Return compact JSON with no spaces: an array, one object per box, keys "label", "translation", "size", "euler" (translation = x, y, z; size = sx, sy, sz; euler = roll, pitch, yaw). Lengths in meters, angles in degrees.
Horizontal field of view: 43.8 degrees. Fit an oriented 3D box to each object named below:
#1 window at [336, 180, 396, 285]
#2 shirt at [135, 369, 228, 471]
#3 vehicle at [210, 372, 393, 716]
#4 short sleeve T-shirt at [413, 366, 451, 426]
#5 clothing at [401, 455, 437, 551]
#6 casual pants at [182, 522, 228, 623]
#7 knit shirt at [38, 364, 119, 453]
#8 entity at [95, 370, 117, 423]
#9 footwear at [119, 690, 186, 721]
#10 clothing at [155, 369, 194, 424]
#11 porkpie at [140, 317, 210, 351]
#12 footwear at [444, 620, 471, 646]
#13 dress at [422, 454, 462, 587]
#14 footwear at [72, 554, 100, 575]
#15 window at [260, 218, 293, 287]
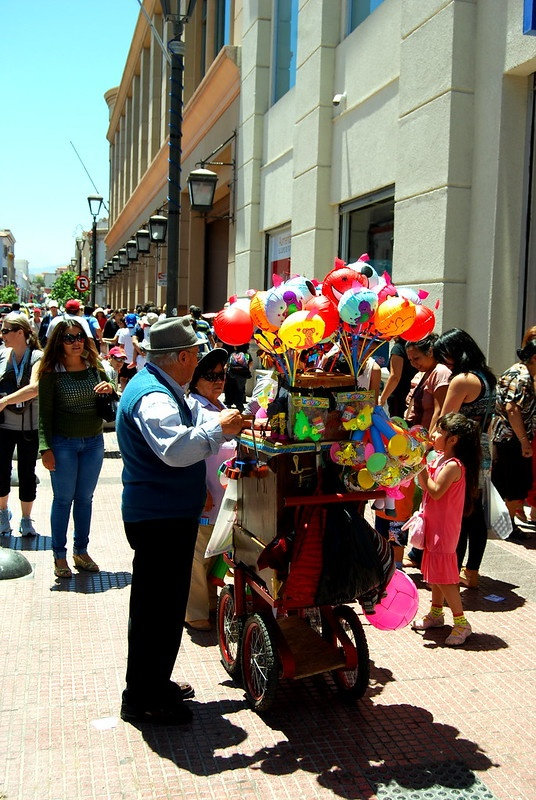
[{"label":"window","translation":[1.379,-2.293,8.914],"size":[0.074,0.937,1.508],"euler":[1,4,-26]},{"label":"shirt","translation":[-0.314,-0.025,2.326],"size":[0.250,0.231,0.481],"euler":[6,8,-13]},{"label":"vehicle","translation":[0.127,0.726,2.960],"size":[0.513,1.113,0.985],"euler":[3,3,-14]},{"label":"short sleeve T-shirt","translation":[1.271,0.016,5.079],"size":[0.285,0.519,0.524],"euler":[2,-5,10]},{"label":"clothing","translation":[0.908,0.665,3.974],"size":[0.186,0.444,0.119],"euler":[13,-17,-33]},{"label":"casual pants","translation":[-0.371,1.052,3.939],"size":[0.164,0.613,0.267],"euler":[-1,3,-36]},{"label":"knit shirt","translation":[-1.335,0.049,4.765],"size":[0.649,0.699,0.366],"euler":[-5,3,-32]},{"label":"entity","translation":[-1.154,-0.015,4.691],"size":[0.106,0.319,0.244],"euler":[-5,-33,-4]},{"label":"footwear","translation":[-0.476,1.272,2.734],"size":[0.268,0.115,0.106],"euler":[0,8,-10]},{"label":"clothing","translation":[-0.411,-0.001,2.656],"size":[0.075,0.205,0.152],"euler":[-35,-27,15]},{"label":"porkpie","translation":[-0.384,-0.259,2.674],"size":[0.239,0.141,0.226],"euler":[2,-1,-11]},{"label":"footwear","translation":[1.076,1.312,3.747],"size":[0.075,0.081,0.205],"euler":[-15,-6,34]},{"label":"dress","translation":[1.021,0.700,3.803],"size":[0.214,0.702,0.193],"euler":[5,-5,-16]},{"label":"footwear","translation":[-1.345,1.203,4.878],"size":[0.085,0.103,0.258],"euler":[-2,5,-34]},{"label":"window","translation":[0.278,-2.656,12.479],"size":[0.054,1.094,1.085],"euler":[-3,16,22]}]
